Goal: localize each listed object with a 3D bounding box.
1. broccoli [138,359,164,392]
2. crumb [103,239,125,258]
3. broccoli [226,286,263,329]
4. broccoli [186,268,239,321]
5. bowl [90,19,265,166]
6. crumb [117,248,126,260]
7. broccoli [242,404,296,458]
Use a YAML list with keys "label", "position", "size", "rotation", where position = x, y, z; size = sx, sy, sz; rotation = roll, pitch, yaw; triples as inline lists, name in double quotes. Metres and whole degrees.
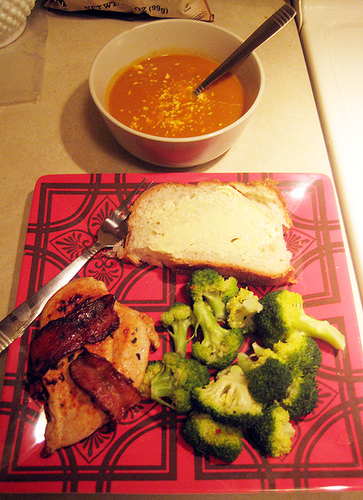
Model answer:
- label: "broccoli"
  position: [-0.136, 0.559, 1.925]
  size: [0.044, 0.095, 0.116]
  rotation: [17, 89, 18]
- label: "crumb"
  position: [-0.344, -0.003, 2.180]
  size: [0.077, 0.023, 0.075]
  rotation: [18, 70, 31]
- label: "broccoli"
  position: [0.264, 0.271, 2.015]
  size: [0.171, 0.163, 0.192]
  rotation: [-11, 36, -6]
- label: "broccoli"
  position: [0.149, 0.194, 2.032]
  size: [0.224, 0.153, 0.246]
  rotation: [-3, 86, -13]
- label: "bowl"
  position: [-0.011, -0.815, 2.274]
  size: [0.831, 0.274, 0.821]
  rotation: [1, 64, -2]
- label: "crumb"
  position: [-0.304, 0.019, 2.147]
  size: [0.045, 0.012, 0.044]
  rotation: [-13, 66, 21]
- label: "broccoli"
  position: [0.379, 0.754, 1.836]
  size: [0.201, 0.121, 0.240]
  rotation: [2, 81, 14]
